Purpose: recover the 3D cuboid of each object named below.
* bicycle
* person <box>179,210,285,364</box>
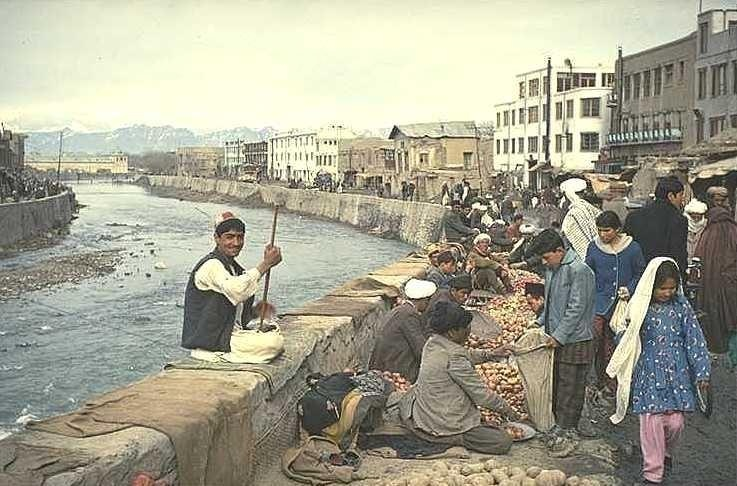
[{"bbox_3d":[3.925,1.192,8.368,0.414,1.564,3.180,6,10,25],"label":"bicycle"},{"bbox_3d":[-1.451,0.594,7.841,0.911,1.900,0.844,1,2,15],"label":"person"}]
